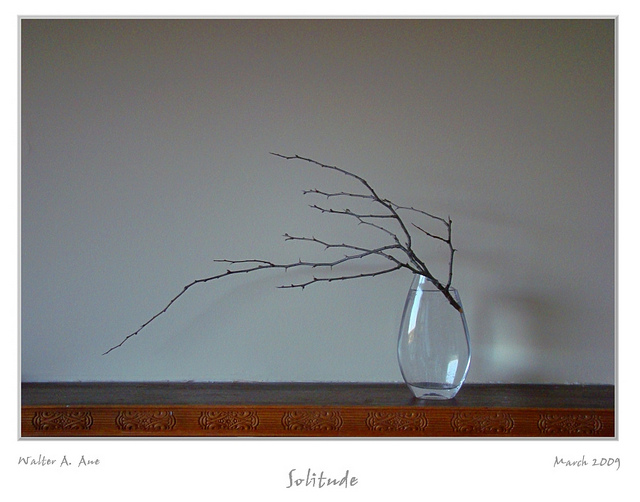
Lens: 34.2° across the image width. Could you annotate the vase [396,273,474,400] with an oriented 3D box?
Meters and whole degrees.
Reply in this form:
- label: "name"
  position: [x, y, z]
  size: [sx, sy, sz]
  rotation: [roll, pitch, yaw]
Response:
- label: "vase"
  position: [0.319, 0.270, 2.939]
  size: [0.195, 0.355, 0.203]
  rotation: [-3, -24, 16]
